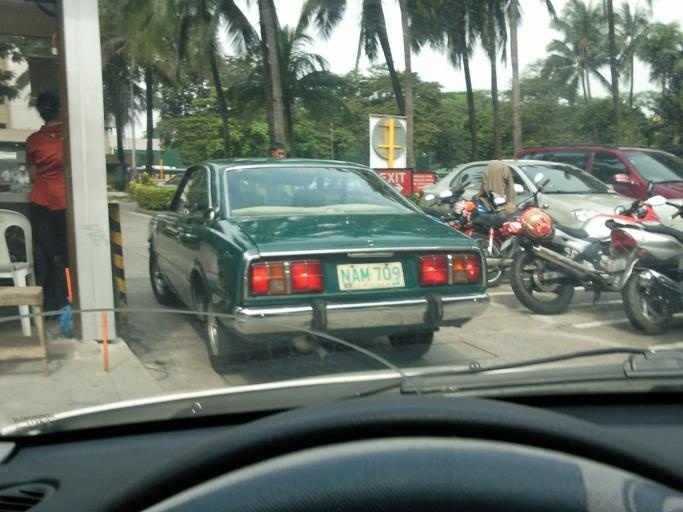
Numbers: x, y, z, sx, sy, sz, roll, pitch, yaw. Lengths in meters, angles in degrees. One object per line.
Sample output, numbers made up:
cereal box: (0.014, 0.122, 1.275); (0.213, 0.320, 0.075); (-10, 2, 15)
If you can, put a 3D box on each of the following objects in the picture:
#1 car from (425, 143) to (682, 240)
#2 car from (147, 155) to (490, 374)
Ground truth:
car: (2.121, -0.612, 8.604); (2.541, 0.838, 1.300); (0, 5, 32)
car: (-0.152, -0.012, 3.873); (1.068, 0.668, 2.012); (-1, 8, -22)
